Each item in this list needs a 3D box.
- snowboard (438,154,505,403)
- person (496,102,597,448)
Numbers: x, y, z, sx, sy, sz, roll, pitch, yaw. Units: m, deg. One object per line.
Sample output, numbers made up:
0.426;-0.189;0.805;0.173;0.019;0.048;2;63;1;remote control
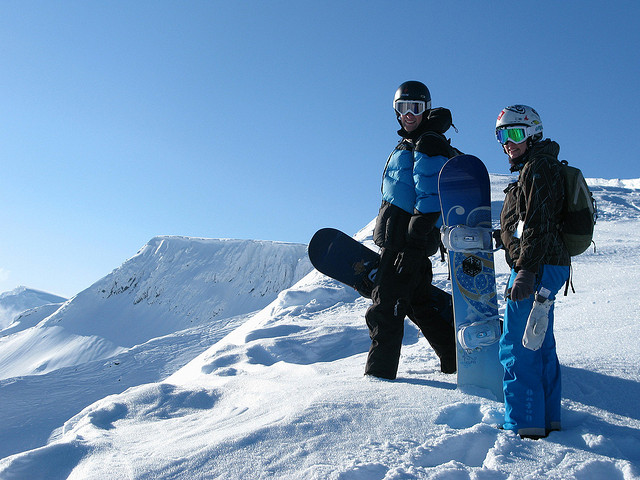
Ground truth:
1.432;0.317;5.062;0.655;2.342;0.588;3;-13;5;snowboard
1.946;0.251;4.490;0.795;2.882;0.737;-1;-14;21;person
